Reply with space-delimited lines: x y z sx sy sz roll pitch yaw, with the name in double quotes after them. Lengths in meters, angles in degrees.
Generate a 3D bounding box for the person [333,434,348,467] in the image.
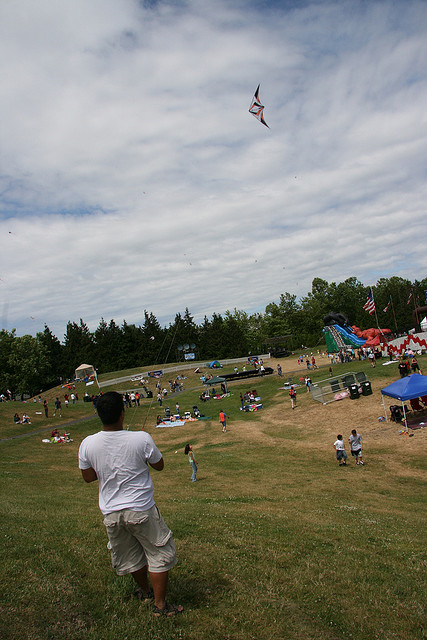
5.065 5.074 18.123 0.474 1.190 1.901 0 -8 16 "person"

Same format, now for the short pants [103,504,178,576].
-0.752 2.221 4.598 0.711 0.733 0.429 5 -8 -17 "short pants"

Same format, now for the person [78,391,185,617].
-0.877 1.882 4.681 1.042 2.270 0.650 5 -8 -17 "person"

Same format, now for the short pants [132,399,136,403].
-8.554 8.605 48.826 0.191 0.349 0.729 8 -10 -39 "short pants"

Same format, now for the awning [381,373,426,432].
8.328 2.941 19.901 1.372 1.052 1.313 -10 1 -21 "awning"

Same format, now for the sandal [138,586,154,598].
-0.762 3.036 5.121 0.147 0.110 0.224 4 -8 -15 "sandal"

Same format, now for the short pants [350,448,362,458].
5.517 5.101 17.640 0.315 0.417 0.564 -1 -8 22 "short pants"

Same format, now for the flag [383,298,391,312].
35.860 -2.914 94.489 0.418 4.054 0.954 30 -18 38 "flag"
